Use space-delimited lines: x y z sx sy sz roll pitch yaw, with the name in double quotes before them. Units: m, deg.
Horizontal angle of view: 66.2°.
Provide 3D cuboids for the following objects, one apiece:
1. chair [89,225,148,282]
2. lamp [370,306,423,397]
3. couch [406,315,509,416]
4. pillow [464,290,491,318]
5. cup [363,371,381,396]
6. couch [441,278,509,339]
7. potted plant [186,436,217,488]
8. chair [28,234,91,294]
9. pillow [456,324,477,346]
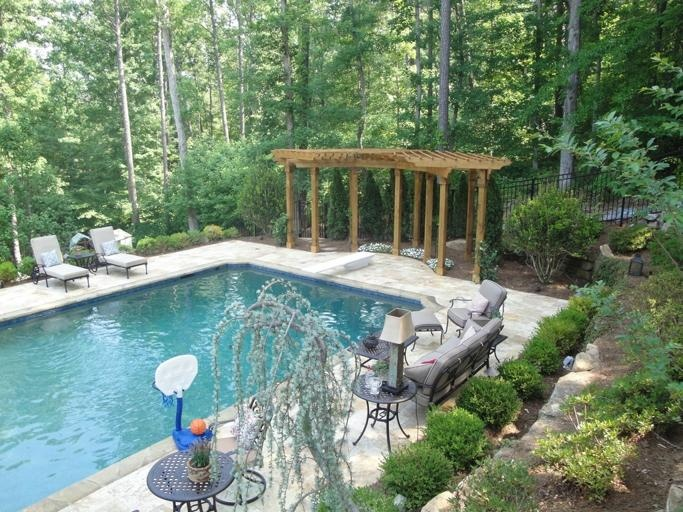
"chair" -7.039 -0.158 16.408 1.924 1.329 0.837 9 15 33
"lamp" 0.971 1.658 8.876 0.710 2.023 0.887 10 22 31
"couch" 1.983 1.805 9.384 1.072 1.010 2.463 10 18 36
"pillow" 2.943 1.037 11.235 0.126 0.406 0.427 29 8 -25
"cup" 0.464 2.028 8.293 0.185 0.325 0.321 -1 4 0
"couch" 2.994 0.990 11.849 1.342 1.725 1.228 -3 11 -16
"potted plant" -1.809 2.699 6.846 0.482 0.439 0.489 2 -11 -3
"chair" -8.221 0.207 15.140 1.833 1.312 0.856 12 19 36
"pillow" 2.390 1.453 9.830 0.098 0.317 0.332 40 -4 -5
